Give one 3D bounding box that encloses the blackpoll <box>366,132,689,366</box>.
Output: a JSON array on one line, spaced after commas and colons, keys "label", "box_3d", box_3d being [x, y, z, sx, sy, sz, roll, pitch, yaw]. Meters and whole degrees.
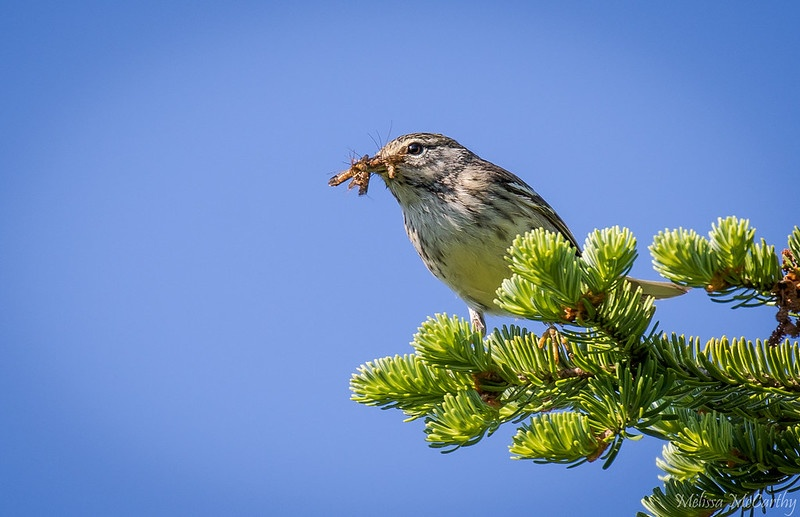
[{"label": "blackpoll", "box_3d": [0.869, -0.124, 7.160, 2.588, 1.518, 0.927, 4, -27, -36]}]
